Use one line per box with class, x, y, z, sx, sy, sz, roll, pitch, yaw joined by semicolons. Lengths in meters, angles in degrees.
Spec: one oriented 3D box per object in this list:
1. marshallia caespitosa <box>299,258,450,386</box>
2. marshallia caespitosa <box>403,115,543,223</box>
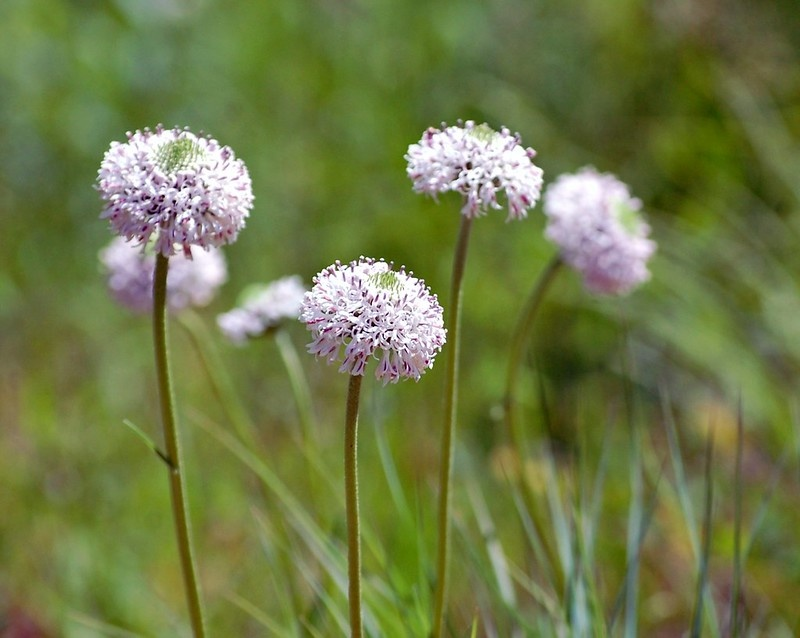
marshallia caespitosa;-0.081;-0.001;1.759;0.188;0.214;0.213;-10;-17;11
marshallia caespitosa;0.147;-0.292;1.835;0.191;0.164;0.213;22;2;15
